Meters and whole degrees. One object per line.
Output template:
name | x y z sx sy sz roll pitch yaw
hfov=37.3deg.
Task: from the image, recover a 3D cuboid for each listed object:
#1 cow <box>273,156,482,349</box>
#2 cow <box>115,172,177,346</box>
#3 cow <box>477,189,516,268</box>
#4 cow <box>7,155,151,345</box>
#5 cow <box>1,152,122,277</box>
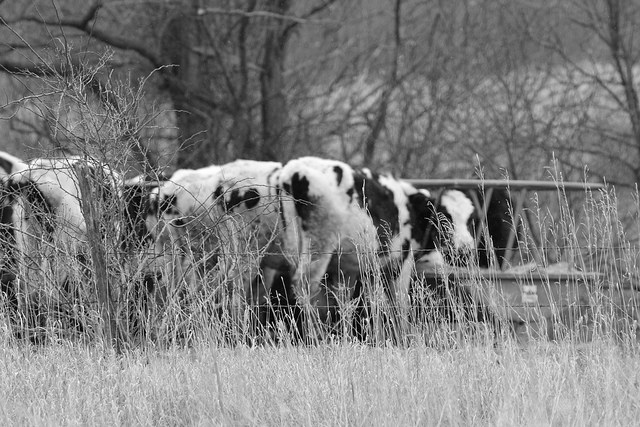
cow | 0.557 0.523 9.780 2.390 1.938 0.947 8 -13 -34
cow | -1.595 0.323 8.640 0.505 1.749 1.643 -1 -9 -11
cow | 1.774 0.154 9.582 0.422 0.757 0.554 -5 -9 14
cow | -2.116 0.120 9.459 0.805 1.684 2.886 2 3 11
cow | -2.471 -0.075 8.790 0.810 1.472 2.126 2 -10 -29
